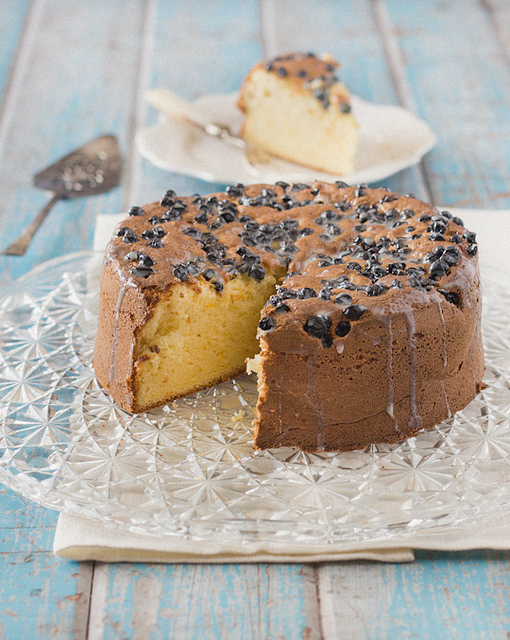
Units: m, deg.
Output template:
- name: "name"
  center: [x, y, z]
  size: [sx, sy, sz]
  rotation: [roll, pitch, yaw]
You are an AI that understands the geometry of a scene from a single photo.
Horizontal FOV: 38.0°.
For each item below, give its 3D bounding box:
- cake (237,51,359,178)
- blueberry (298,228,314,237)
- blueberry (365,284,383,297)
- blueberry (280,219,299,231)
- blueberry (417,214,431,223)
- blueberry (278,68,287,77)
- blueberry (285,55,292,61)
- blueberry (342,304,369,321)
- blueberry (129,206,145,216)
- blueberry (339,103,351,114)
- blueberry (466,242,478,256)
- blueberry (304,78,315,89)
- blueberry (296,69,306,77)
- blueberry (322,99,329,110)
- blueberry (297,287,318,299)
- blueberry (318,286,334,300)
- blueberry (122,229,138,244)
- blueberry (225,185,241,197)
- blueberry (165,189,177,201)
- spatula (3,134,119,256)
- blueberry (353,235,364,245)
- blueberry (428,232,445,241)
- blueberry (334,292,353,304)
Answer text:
- name: "cake"
  center: [0.272, -1.095, 3.864]
  size: [0.727, 0.615, 0.260]
  rotation: [30, 59, 28]
- name: "blueberry"
  center: [0.182, -0.320, 2.686]
  size: [0.041, 0.011, 0.039]
  rotation: [8, 21, 44]
- name: "blueberry"
  center: [0.371, -0.090, 2.252]
  size: [0.048, 0.012, 0.039]
  rotation: [2, 40, 4]
- name: "blueberry"
  center: [0.122, -0.354, 2.726]
  size: [0.050, 0.013, 0.054]
  rotation: [2, 26, 9]
- name: "blueberry"
  center: [0.610, -0.367, 2.668]
  size: [0.046, 0.014, 0.052]
  rotation: [0, 11, 12]
- name: "blueberry"
  center: [0.138, -1.247, 3.705]
  size: [0.027, 0.036, 0.042]
  rotation: [-34, 54, -24]
- name: "blueberry"
  center: [0.168, -1.315, 3.695]
  size: [0.039, 0.012, 0.039]
  rotation: [-1, 30, 0]
- name: "blueberry"
  center: [0.290, -0.022, 2.185]
  size: [0.051, 0.020, 0.063]
  rotation: [10, 14, 28]
- name: "blueberry"
  center: [-0.440, -0.409, 2.759]
  size: [0.052, 0.013, 0.042]
  rotation: [4, 29, 6]
- name: "blueberry"
  center: [0.454, -1.073, 3.739]
  size: [0.054, 0.055, 0.027]
  rotation: [-2, 50, 1]
- name: "blueberry"
  center: [0.748, -0.242, 2.536]
  size: [0.041, 0.018, 0.061]
  rotation: [4, 25, 19]
- name: "blueberry"
  center: [0.264, -1.183, 3.693]
  size: [0.042, 0.042, 0.017]
  rotation: [15, 3, 4]
- name: "blueberry"
  center: [0.229, -1.228, 3.664]
  size: [0.014, 0.029, 0.054]
  rotation: [-1, 5, -44]
- name: "blueberry"
  center: [0.360, -1.102, 3.764]
  size: [0.032, 0.057, 0.012]
  rotation: [-1, 52, 3]
- name: "blueberry"
  center: [0.161, -0.090, 2.290]
  size: [0.052, 0.038, 0.037]
  rotation: [29, 22, 18]
- name: "blueberry"
  center: [0.218, -0.081, 2.232]
  size: [0.037, 0.013, 0.039]
  rotation: [-2, 25, 4]
- name: "blueberry"
  center: [-0.436, -0.289, 2.560]
  size: [0.060, 0.018, 0.042]
  rotation: [2, 70, 3]
- name: "blueberry"
  center: [-0.087, -0.516, 2.957]
  size: [0.059, 0.016, 0.047]
  rotation: [6, 37, 1]
- name: "blueberry"
  center: [-0.340, -0.495, 2.934]
  size: [0.061, 0.015, 0.062]
  rotation: [3, 35, -1]
- name: "spatula"
  center: [-1.034, -0.705, 4.120]
  size: [0.357, 0.098, 0.965]
  rotation: [15, 40, 16]
- name: "blueberry"
  center: [0.360, -0.280, 2.583]
  size: [0.027, 0.008, 0.038]
  rotation: [0, 33, 29]
- name: "blueberry"
  center: [0.618, -0.286, 2.529]
  size: [0.049, 0.012, 0.031]
  rotation: [-1, 38, 0]
- name: "blueberry"
  center: [0.265, -0.067, 2.214]
  size: [0.039, 0.042, 0.014]
  rotation: [-7, 82, -21]
